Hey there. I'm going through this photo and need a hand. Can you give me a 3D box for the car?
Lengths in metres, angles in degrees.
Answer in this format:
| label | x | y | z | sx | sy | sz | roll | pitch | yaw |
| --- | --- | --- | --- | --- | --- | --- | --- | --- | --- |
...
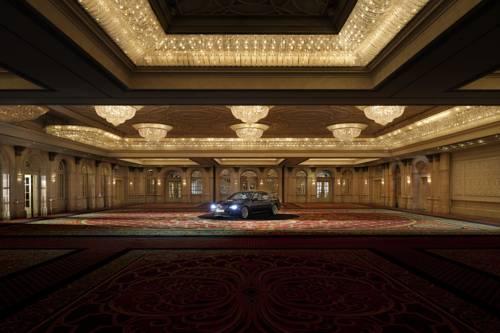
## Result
| label | x | y | z | sx | sy | sz | roll | pitch | yaw |
| --- | --- | --- | --- | --- | --- | --- | --- | --- | --- |
| car | -0.117 | 2.199 | 16.186 | 1.816 | 0.840 | 3.844 | -7 | -10 | 40 |
